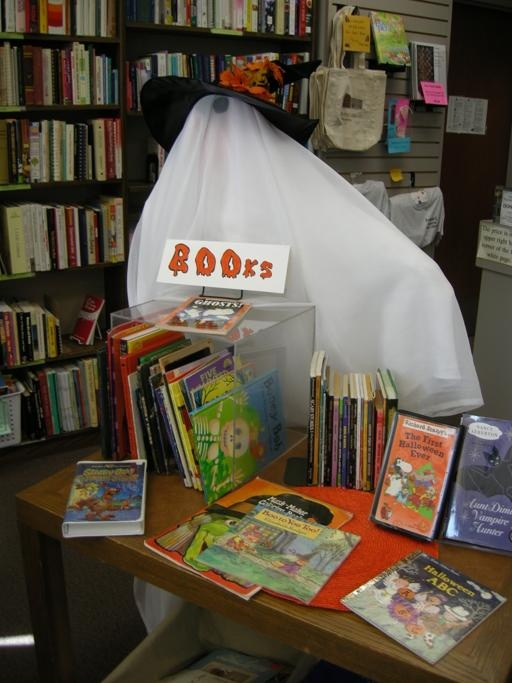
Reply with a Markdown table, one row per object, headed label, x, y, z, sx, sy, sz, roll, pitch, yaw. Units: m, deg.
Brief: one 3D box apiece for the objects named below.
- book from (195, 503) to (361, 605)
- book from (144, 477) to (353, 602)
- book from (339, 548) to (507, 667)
| label | x | y | z | sx | sy | sz | roll | pitch | yaw |
| --- | --- | --- | --- | --- | --- | --- | --- | --- | --- |
| book | 0.038 | 0.330 | 0.817 | 0.196 | 0.029 | 0.182 | 7 | 11 | 29 |
| book | -0.011 | 0.324 | 0.850 | 0.195 | 0.019 | 0.238 | 14 | 24 | 37 |
| book | 0.218 | 0.357 | 0.688 | 0.149 | 0.011 | 0.129 | -17 | 24 | -37 |
